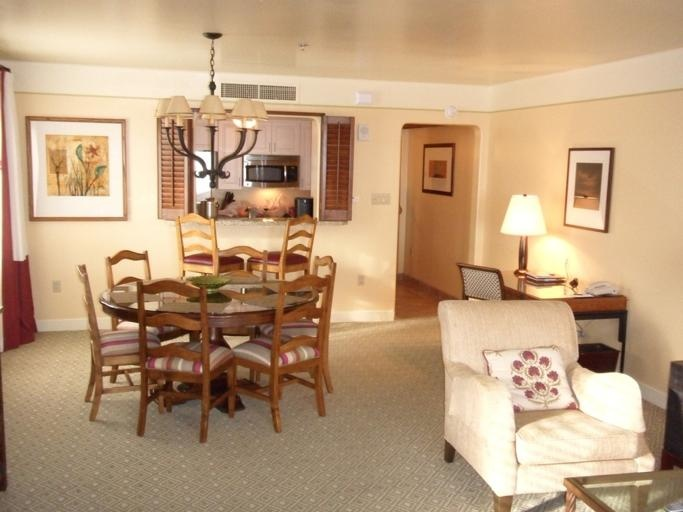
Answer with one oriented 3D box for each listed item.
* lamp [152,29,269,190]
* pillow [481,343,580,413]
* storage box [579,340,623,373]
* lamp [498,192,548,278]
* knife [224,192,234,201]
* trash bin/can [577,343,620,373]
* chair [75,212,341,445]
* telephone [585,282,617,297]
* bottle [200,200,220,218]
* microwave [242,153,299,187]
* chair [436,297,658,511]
[{"bbox_3d":[-1.051,-1.196,4.479,1.058,0.913,0.855,-1,13,-15],"label":"lamp"},{"bbox_3d":[1.213,0.783,3.516,0.650,0.349,0.156,-1,-27,-5],"label":"pillow"},{"bbox_3d":[2.276,0.911,4.983,0.363,0.249,0.309,0,5,0],"label":"storage box"},{"bbox_3d":[1.891,-0.235,5.729,0.434,0.800,0.664,8,16,18],"label":"lamp"},{"bbox_3d":[-1.319,-0.711,6.546,0.124,0.089,0.112,12,42,9],"label":"knife"},{"bbox_3d":[2.271,0.910,4.981,0.366,0.244,0.306,0,5,0],"label":"trash bin/can"},{"bbox_3d":[-0.842,0.631,4.454,1.578,1.223,1.524,5,14,9],"label":"chair"},{"bbox_3d":[2.316,0.300,4.935,0.212,0.068,0.145,0,3,-16],"label":"telephone"},{"bbox_3d":[-1.453,-0.520,6.157,0.215,0.144,0.236,1,2,0],"label":"bottle"},{"bbox_3d":[-0.715,-1.000,6.494,0.784,0.370,0.450,7,14,29],"label":"microwave"},{"bbox_3d":[1.225,0.900,3.880,1.552,1.190,1.437,-1,0,-10],"label":"chair"}]
